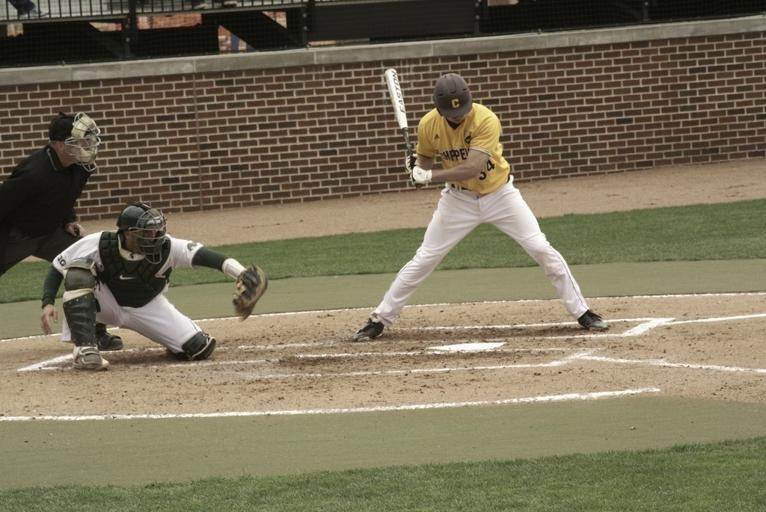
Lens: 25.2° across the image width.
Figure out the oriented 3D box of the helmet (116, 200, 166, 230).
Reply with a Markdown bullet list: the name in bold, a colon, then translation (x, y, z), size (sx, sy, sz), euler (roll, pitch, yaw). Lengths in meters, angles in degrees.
- **helmet**: translation (-2.951, -0.485, 21.018), size (0.451, 0.214, 0.350), euler (0, 6, 15)

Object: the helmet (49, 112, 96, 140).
- **helmet**: translation (-3.906, -1.632, 21.595), size (0.519, 0.279, 0.332), euler (-10, 13, -5)

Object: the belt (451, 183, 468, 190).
- **belt**: translation (0.944, -0.871, 21.570), size (0.219, 0.079, 0.034), euler (3, 12, 24)

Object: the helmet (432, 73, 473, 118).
- **helmet**: translation (0.839, -2.004, 21.392), size (0.405, 0.565, 0.326), euler (-15, -25, 1)

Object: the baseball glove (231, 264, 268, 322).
- **baseball glove**: translation (-1.712, 0.461, 21.188), size (0.349, 0.688, 0.339), euler (24, 12, -13)

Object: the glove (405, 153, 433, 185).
- **glove**: translation (0.421, -1.050, 21.693), size (0.320, 0.149, 0.419), euler (8, 45, -3)

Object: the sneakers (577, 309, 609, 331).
- **sneakers**: translation (2.654, 0.840, 21.744), size (0.515, 0.239, 0.179), euler (0, 31, 36)
